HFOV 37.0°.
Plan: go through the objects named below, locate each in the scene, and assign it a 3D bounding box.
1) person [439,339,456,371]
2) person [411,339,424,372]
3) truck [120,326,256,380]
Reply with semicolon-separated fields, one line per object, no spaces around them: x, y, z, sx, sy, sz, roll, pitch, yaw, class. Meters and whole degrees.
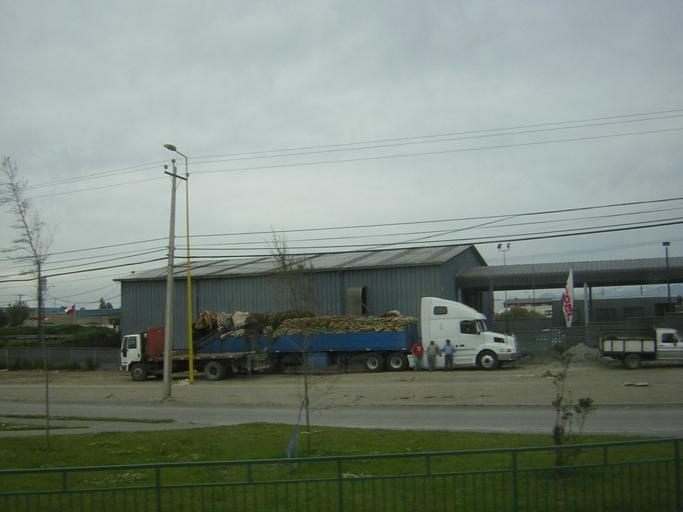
5.144;4.915;50.224;0.624;1.536;0.734;-4;-8;8;person
3.667;5.080;50.677;0.549;1.375;0.697;-3;-8;3;person
-8.247;4.900;51.460;7.336;3.163;2.746;0;-6;6;truck
